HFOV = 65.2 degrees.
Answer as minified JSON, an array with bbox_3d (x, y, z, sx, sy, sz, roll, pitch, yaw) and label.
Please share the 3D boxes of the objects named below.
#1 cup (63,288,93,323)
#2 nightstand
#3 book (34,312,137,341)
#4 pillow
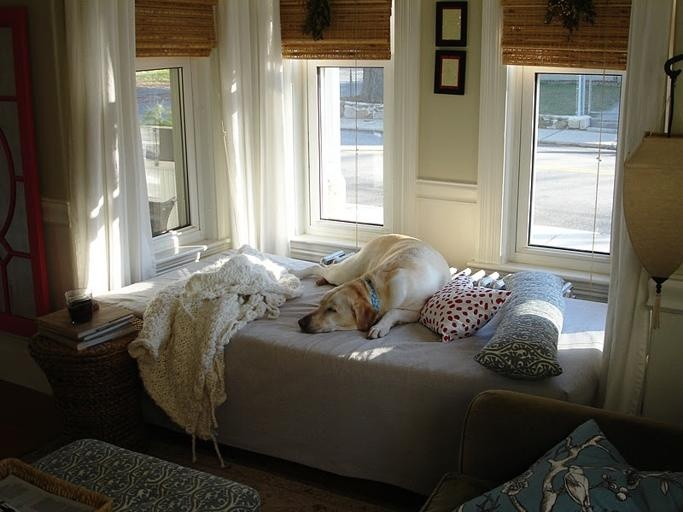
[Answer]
[{"bbox_3d":[-1.320,0.249,2.747,0.149,0.175,0.155,-1,7,0],"label":"cup"},{"bbox_3d":[-1.405,0.779,2.733,0.462,0.516,0.517,-37,-25,23],"label":"nightstand"},{"bbox_3d":[-1.259,0.337,2.701,0.220,0.055,0.225,3,15,36],"label":"book"},{"bbox_3d":[0.738,0.291,2.468,0.393,0.153,0.637,2,15,21],"label":"pillow"}]
